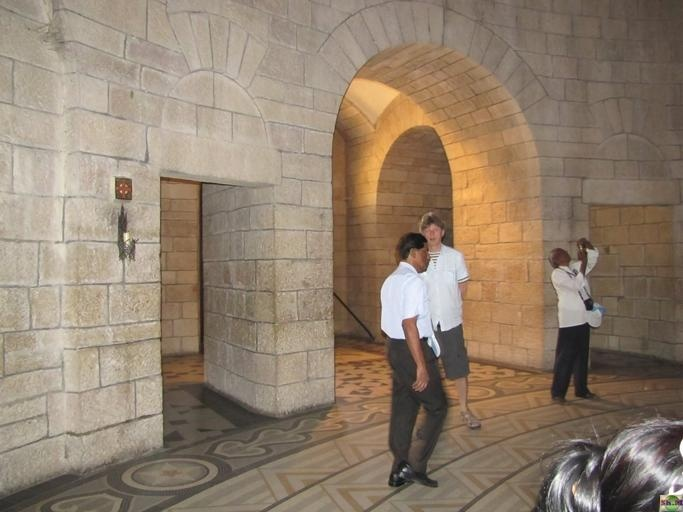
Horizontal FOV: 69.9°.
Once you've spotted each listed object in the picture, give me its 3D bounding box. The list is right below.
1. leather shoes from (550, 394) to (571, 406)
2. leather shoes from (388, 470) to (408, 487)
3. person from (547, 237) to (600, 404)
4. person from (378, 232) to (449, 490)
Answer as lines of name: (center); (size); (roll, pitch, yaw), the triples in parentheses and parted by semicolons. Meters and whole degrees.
leather shoes: (2.230, 1.471, 4.986); (0.073, 0.050, 0.126); (-3, 9, -16)
leather shoes: (0.377, 1.490, 3.270); (0.057, 0.094, 0.138); (2, 2, 24)
person: (2.462, 0.656, 5.178); (0.645, 1.672, 0.375); (0, -1, -26)
person: (0.487, 0.688, 3.352); (0.421, 1.693, 0.394); (-1, -1, 5)
